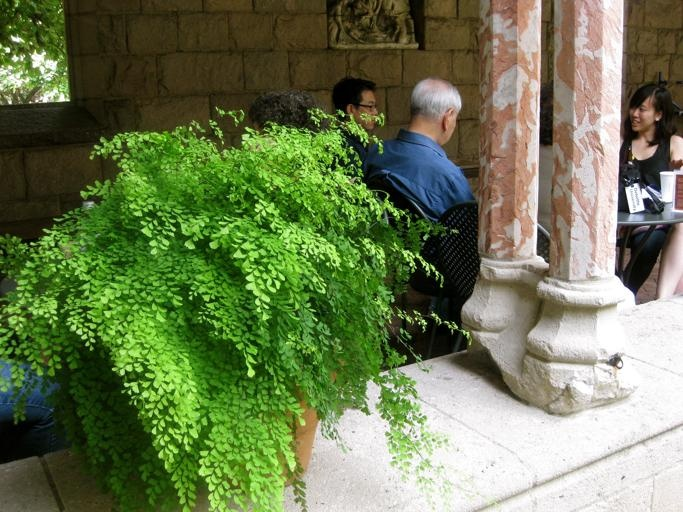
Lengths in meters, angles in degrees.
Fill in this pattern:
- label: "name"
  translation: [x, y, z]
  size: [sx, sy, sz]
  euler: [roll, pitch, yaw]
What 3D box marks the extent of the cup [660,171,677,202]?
- label: "cup"
  translation: [1.854, -0.392, 3.434]
  size: [0.104, 0.176, 0.104]
  euler: [-1, 10, 0]
